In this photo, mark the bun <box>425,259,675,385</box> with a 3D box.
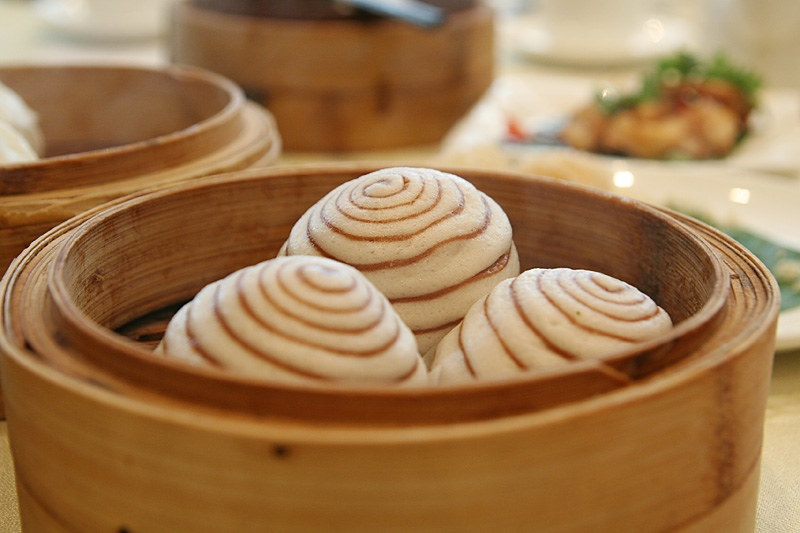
[{"bbox_3d":[0.088,0.016,0.491,0.162,0.060,0.095,11,59,-35],"label":"bun"}]

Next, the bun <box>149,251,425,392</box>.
[{"bbox_3d":[-0.067,0.036,0.453,0.131,0.035,0.097,5,15,-10],"label":"bun"}]

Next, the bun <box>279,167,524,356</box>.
[{"bbox_3d":[-0.025,-0.004,0.583,0.188,0.080,0.151,9,27,23],"label":"bun"}]
